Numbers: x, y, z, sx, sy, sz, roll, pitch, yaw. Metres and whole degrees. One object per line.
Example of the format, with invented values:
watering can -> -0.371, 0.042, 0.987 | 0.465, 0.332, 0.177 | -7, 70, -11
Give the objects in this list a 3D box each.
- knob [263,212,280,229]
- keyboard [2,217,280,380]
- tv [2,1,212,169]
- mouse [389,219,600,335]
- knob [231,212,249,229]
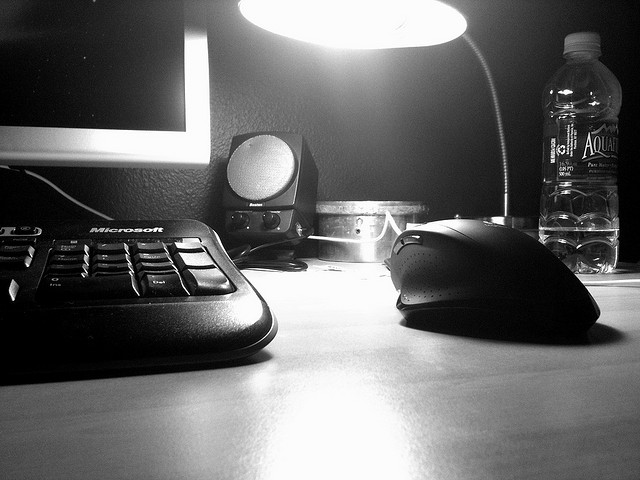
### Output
knob -> -0.072, -0.028, 0.765 | 0.022, 0.022, 0.021 | 0, -13, 13
keyboard -> -0.161, 0.031, 0.411 | 0.219, 0.076, 0.228 | -2, 8, -16
tv -> -0.259, -0.180, 0.604 | 0.204, 0.204, 0.014 | -1, 2, -17
mouse -> 0.151, 0.022, 0.486 | 0.170, 0.091, 0.237 | -1, 2, -14
knob -> -0.121, -0.029, 0.774 | 0.022, 0.023, 0.021 | 0, -7, 14
